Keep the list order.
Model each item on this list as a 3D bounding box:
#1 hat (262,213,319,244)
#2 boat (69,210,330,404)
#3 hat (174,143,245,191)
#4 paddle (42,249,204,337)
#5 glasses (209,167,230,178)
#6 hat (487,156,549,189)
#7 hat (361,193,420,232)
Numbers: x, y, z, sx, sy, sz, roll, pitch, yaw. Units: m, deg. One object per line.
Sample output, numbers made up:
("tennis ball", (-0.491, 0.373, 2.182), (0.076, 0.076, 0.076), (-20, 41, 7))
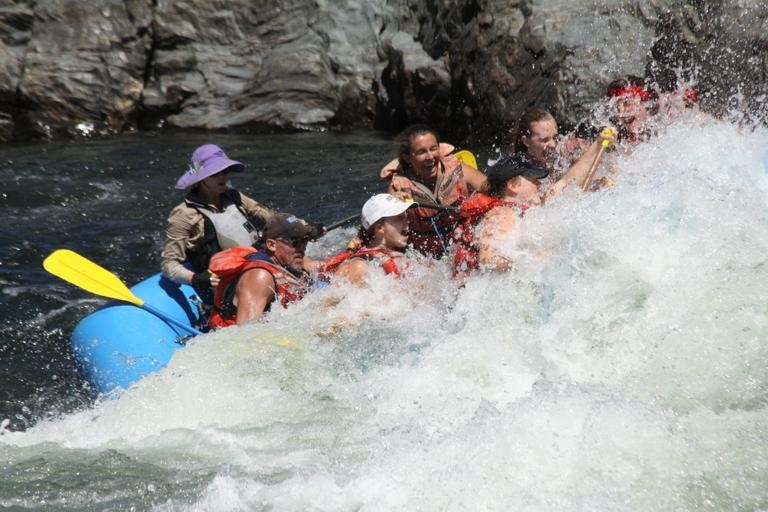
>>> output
("hat", (-0.997, -0.297, 8.676), (0.477, 0.218, 0.290), (2, 8, 0))
("boat", (-2.470, 0.697, 8.796), (1.629, 0.607, 1.606), (-34, 62, -25))
("hat", (-2.123, -0.908, 9.544), (0.600, 0.282, 0.669), (-23, 3, -39))
("paddle", (-2.865, 0.547, 9.493), (0.183, 2.388, 0.312), (-32, 46, 22))
("glasses", (-1.884, -0.936, 9.439), (0.117, 0.054, 0.152), (-24, -3, -46))
("hat", (1.353, -0.889, 8.498), (0.509, 0.186, 0.314), (-9, 8, 1))
("hat", (0.039, -0.471, 8.490), (0.464, 0.246, 0.339), (-32, 3, 22))
